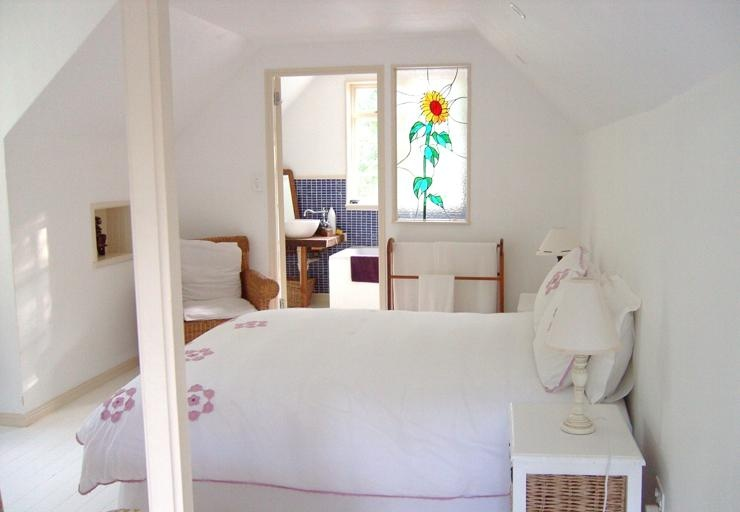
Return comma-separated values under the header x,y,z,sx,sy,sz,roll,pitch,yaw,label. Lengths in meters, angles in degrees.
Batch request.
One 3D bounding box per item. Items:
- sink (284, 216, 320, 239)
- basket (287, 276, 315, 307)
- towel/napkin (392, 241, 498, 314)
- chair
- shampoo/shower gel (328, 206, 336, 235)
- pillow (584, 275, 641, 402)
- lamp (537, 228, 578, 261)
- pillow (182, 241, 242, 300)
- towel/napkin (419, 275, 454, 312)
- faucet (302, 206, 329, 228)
x,y,z,sx,sy,sz,roll,pitch,yaw,label
-0.687,-0.279,5.447,0.337,0.192,0.235,1,1,-5,sink
-0.709,0.339,5.537,0.251,0.349,0.311,-1,2,1,basket
0.564,0.221,4.083,0.894,0.662,0.283,1,7,11,towel/napkin
-1.078,0.250,4.138,0.750,0.880,0.708,-1,1,-20,chair
-0.404,-0.375,5.663,0.112,0.311,0.310,1,1,-5,shampoo/shower gel
0.951,0.337,2.095,0.108,0.382,0.334,3,0,13,pillow
1.131,-0.061,3.326,0.219,0.242,0.224,0,1,2,lamp
-1.200,0.088,4.014,0.413,0.428,0.124,-5,3,-33,pillow
0.492,0.260,3.991,0.270,0.270,0.094,2,1,7,towel/napkin
-0.558,-0.438,5.735,0.401,0.274,0.137,3,1,8,faucet
